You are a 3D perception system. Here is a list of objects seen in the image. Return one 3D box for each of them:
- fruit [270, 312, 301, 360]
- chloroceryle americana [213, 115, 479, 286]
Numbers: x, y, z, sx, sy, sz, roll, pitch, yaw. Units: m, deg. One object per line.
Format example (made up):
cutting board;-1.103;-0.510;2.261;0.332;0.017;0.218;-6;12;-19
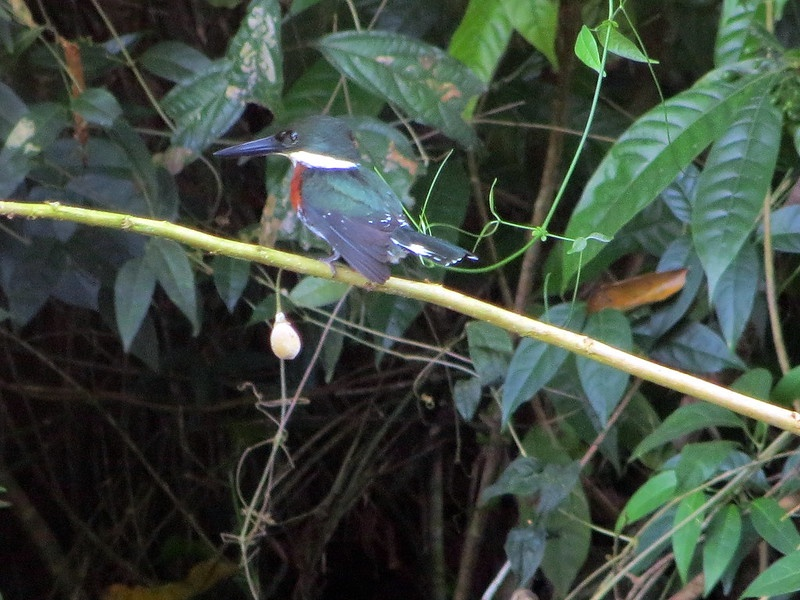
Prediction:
fruit;-0.185;0.056;1.599;0.054;0.034;0.076;-11;73;-17
chloroceryle americana;-0.106;-0.171;1.668;0.431;0.250;0.150;4;6;8
